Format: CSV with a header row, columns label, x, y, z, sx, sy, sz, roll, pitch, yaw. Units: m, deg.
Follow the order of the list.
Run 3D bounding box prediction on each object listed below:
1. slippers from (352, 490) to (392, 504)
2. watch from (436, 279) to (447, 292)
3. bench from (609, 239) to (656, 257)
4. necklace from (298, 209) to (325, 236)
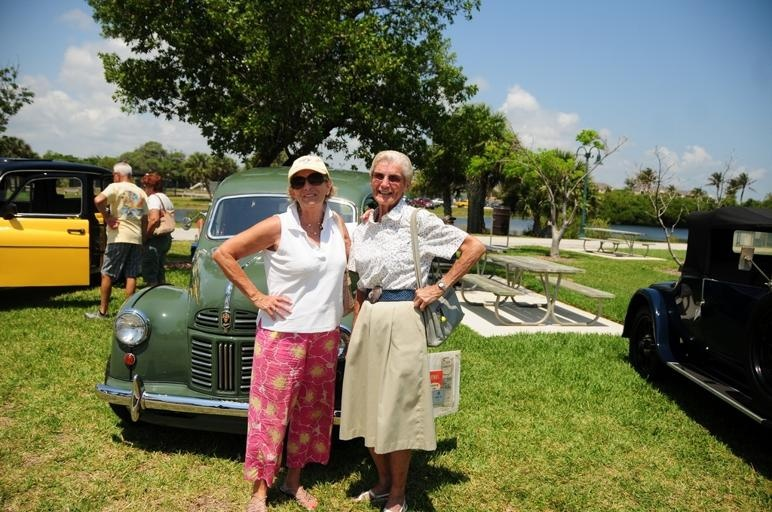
label,x,y,z,sx,sy,sz,roll,pitch,yaw
slippers,-0.133,2.341,5.320,0.364,0.117,0.136,4,-4,5
watch,0.505,0.268,4.936,0.062,0.101,0.093,-33,-30,10
bench,10.845,-0.251,24.228,1.684,0.526,1.731,-1,3,-7
necklace,-0.682,-0.297,5.016,0.185,0.199,0.252,-1,2,-12
